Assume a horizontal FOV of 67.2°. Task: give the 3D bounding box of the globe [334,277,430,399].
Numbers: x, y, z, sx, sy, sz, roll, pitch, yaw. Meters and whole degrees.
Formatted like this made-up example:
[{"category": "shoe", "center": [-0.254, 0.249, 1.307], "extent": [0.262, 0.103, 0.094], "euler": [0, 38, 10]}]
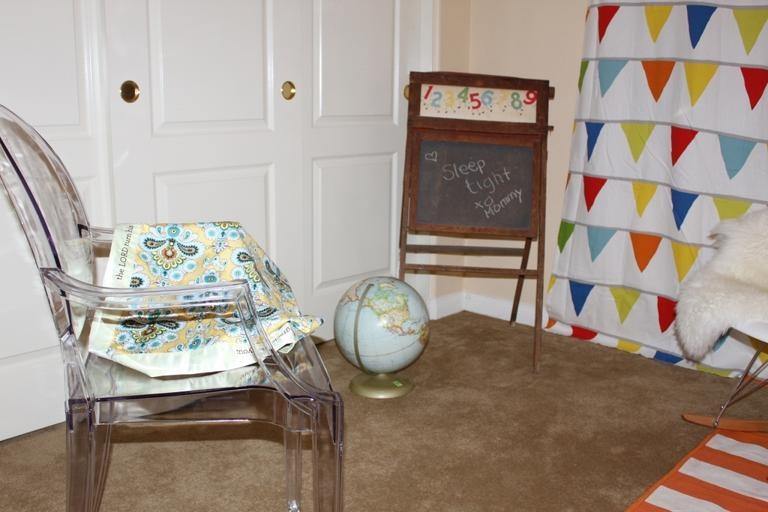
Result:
[{"category": "globe", "center": [-0.013, 0.354, 2.898], "extent": [0.484, 0.645, 0.504], "euler": [1, 10, -1]}]
